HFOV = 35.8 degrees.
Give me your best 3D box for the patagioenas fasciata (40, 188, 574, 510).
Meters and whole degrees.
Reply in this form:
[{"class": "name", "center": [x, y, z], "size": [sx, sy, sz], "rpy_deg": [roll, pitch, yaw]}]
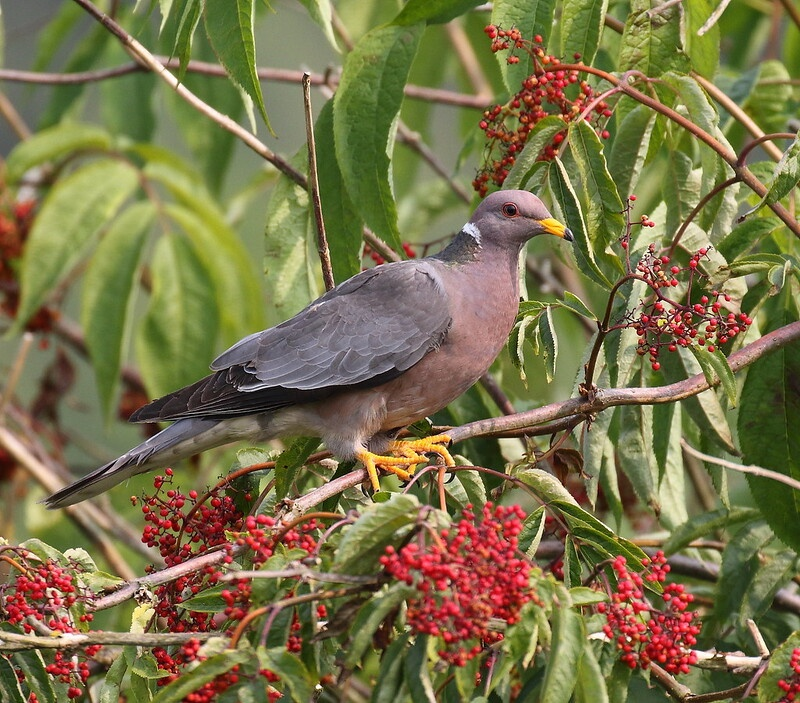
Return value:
[{"class": "patagioenas fasciata", "center": [-0.540, -0.084, 5.073], "size": [2.318, 1.521, 0.835], "rpy_deg": [-2, 2, 0]}]
